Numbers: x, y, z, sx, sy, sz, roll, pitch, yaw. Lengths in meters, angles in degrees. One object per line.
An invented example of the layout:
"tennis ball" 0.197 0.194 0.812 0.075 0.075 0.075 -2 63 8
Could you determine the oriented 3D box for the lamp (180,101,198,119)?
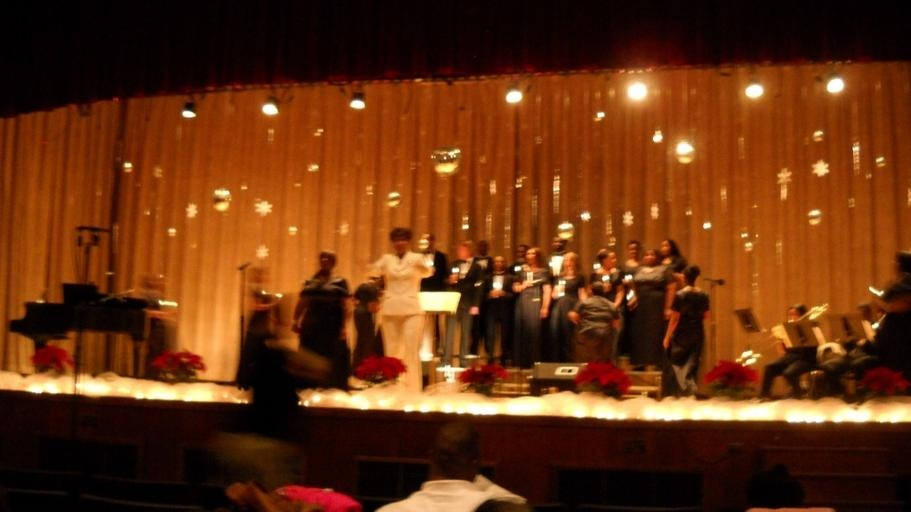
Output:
"lamp" -5.725 -3.128 20.469 0.336 0.305 0.581 9 15 -18
